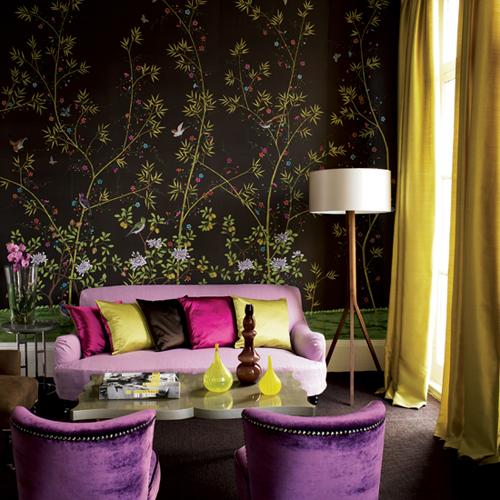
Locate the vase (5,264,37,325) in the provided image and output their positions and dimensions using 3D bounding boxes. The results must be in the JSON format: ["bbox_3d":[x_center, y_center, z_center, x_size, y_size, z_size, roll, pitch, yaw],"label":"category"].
[{"bbox_3d":[-1.675,0.325,3.519,0.210,0.439,0.123,-3,6,-31],"label":"vase"}]
